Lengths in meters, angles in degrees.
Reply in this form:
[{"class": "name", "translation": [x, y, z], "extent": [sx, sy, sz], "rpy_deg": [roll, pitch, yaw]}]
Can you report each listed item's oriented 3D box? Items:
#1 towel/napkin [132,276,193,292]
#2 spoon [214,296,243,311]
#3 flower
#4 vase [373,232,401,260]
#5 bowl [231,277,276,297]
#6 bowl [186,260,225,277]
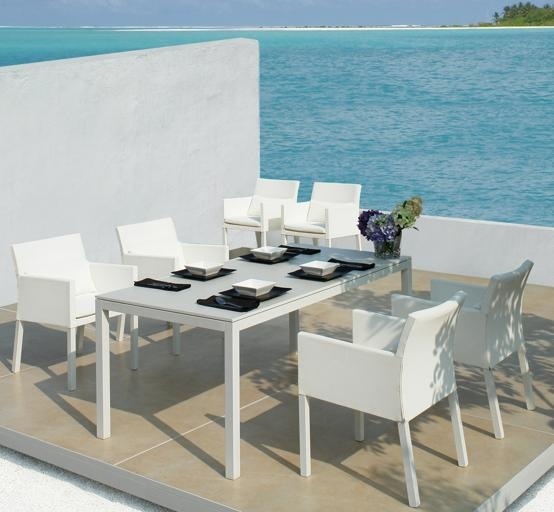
[{"class": "towel/napkin", "translation": [-0.580, 0.148, 2.891], "extent": [0.200, 0.028, 0.110], "rpy_deg": [6, 9, 27]}, {"class": "spoon", "translation": [-0.220, 0.210, 2.565], "extent": [0.101, 0.013, 0.279], "rpy_deg": [-3, 11, -14]}, {"class": "flower", "translation": [0.740, -0.190, 3.750], "extent": [0.437, 0.346, 0.432], "rpy_deg": [4, 9, 41]}, {"class": "vase", "translation": [0.696, -0.055, 3.633], "extent": [0.174, 0.145, 0.172], "rpy_deg": [-1, 1, -1]}, {"class": "bowl", "translation": [-0.128, 0.154, 2.720], "extent": [0.124, 0.031, 0.110], "rpy_deg": [5, 12, 32]}, {"class": "bowl", "translation": [-0.423, 0.070, 3.191], "extent": [0.126, 0.032, 0.113], "rpy_deg": [5, 11, 33]}]
